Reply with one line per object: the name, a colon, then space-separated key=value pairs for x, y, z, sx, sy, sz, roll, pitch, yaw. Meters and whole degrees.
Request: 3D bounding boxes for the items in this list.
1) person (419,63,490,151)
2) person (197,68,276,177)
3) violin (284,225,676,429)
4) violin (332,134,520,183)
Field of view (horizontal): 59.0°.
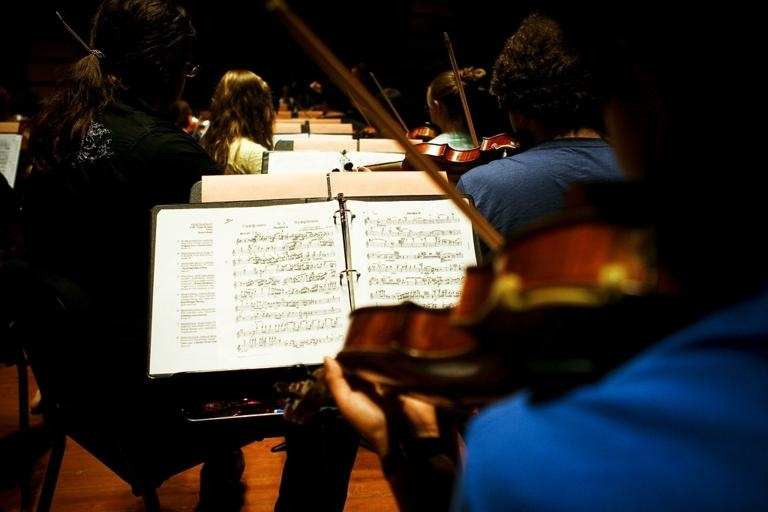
person: x=0.523 y=-0.995 z=4.538 sx=0.357 sy=0.677 sz=0.339 roll=-4 pitch=3 yaw=-15
person: x=-0.869 y=-0.753 z=4.004 sx=0.360 sy=0.660 sz=0.224 roll=7 pitch=13 yaw=16
violin: x=0.181 y=0.135 z=1.448 sx=0.706 sy=0.329 sz=0.169 roll=-20 pitch=65 yaw=21
violin: x=0.229 y=-0.550 z=4.019 sx=1.061 sy=0.398 sz=0.154 roll=-3 pitch=64 yaw=-2
